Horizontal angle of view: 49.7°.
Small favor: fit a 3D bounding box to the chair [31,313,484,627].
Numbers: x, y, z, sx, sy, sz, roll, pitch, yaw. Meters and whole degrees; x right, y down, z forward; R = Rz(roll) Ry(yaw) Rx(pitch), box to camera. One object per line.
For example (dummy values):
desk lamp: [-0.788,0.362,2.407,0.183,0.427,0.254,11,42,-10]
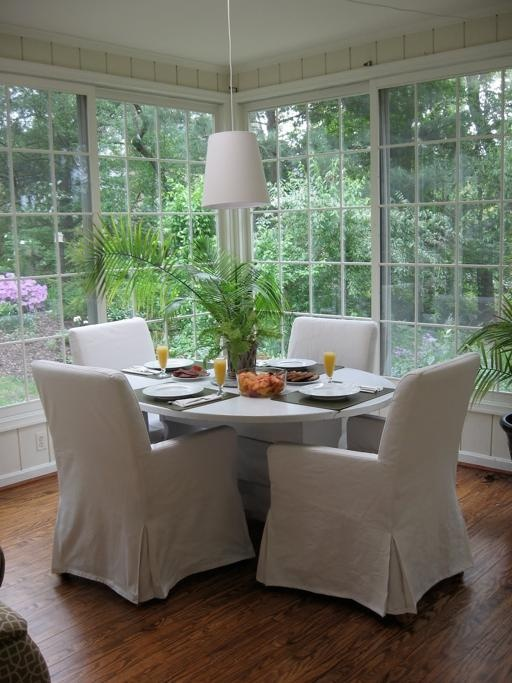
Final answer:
chair: [-0.009,0.442,1.926,1.375,0.758,0.798,3,4,27]
